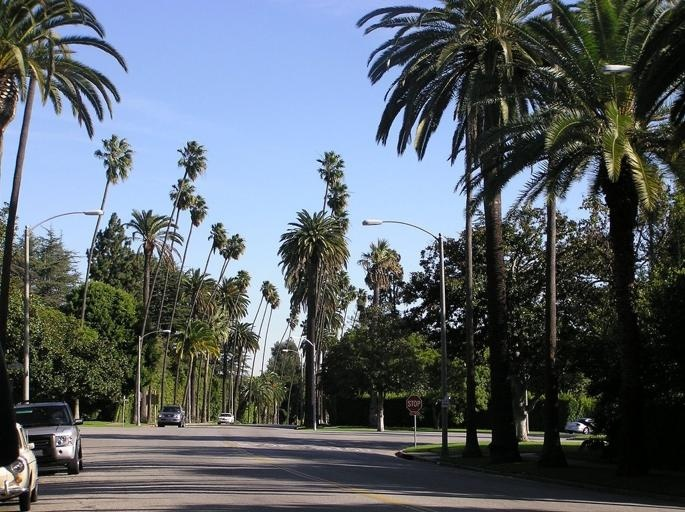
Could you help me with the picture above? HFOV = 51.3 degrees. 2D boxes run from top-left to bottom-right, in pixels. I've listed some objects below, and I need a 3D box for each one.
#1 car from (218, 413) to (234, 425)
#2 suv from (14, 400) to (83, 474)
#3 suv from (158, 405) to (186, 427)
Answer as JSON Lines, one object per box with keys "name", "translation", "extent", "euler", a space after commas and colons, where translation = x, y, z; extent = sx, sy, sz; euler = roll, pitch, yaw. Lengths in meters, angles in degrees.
{"name": "car", "translation": [-15.774, 21.810, 95.728], "extent": [1.661, 1.746, 4.862], "euler": [0, -16, -5]}
{"name": "suv", "translation": [-9.448, 5.972, 23.677], "extent": [1.706, 1.782, 3.359], "euler": [0, -15, -3]}
{"name": "suv", "translation": [-16.733, 15.606, 69.703], "extent": [1.472, 1.515, 3.038], "euler": [0, -16, -1]}
